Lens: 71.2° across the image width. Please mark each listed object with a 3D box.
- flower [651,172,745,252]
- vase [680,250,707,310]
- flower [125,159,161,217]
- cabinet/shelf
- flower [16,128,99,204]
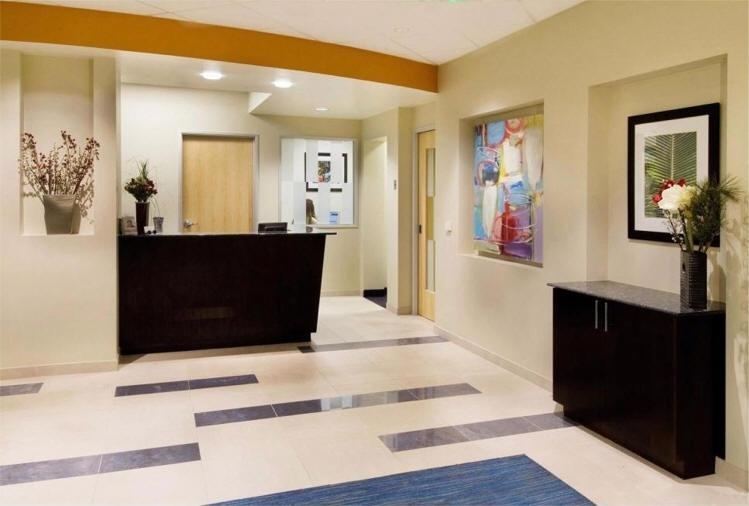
[{"bbox_3d":[2.501,-0.309,4.052,0.507,0.498,0.560,-2,4,42],"label":"flower"},{"bbox_3d":[2.360,0.193,3.868,0.192,0.399,0.292,6,13,24],"label":"vase"},{"bbox_3d":[-2.663,-0.733,6.014,0.369,0.580,0.394,0,-1,-4],"label":"flower"},{"bbox_3d":[2.058,0.998,4.042,0.548,1.212,1.418,1,2,-16],"label":"cabinet/shelf"},{"bbox_3d":[-3.300,-0.875,5.605,0.763,0.798,0.699,-3,7,-39],"label":"flower"}]
